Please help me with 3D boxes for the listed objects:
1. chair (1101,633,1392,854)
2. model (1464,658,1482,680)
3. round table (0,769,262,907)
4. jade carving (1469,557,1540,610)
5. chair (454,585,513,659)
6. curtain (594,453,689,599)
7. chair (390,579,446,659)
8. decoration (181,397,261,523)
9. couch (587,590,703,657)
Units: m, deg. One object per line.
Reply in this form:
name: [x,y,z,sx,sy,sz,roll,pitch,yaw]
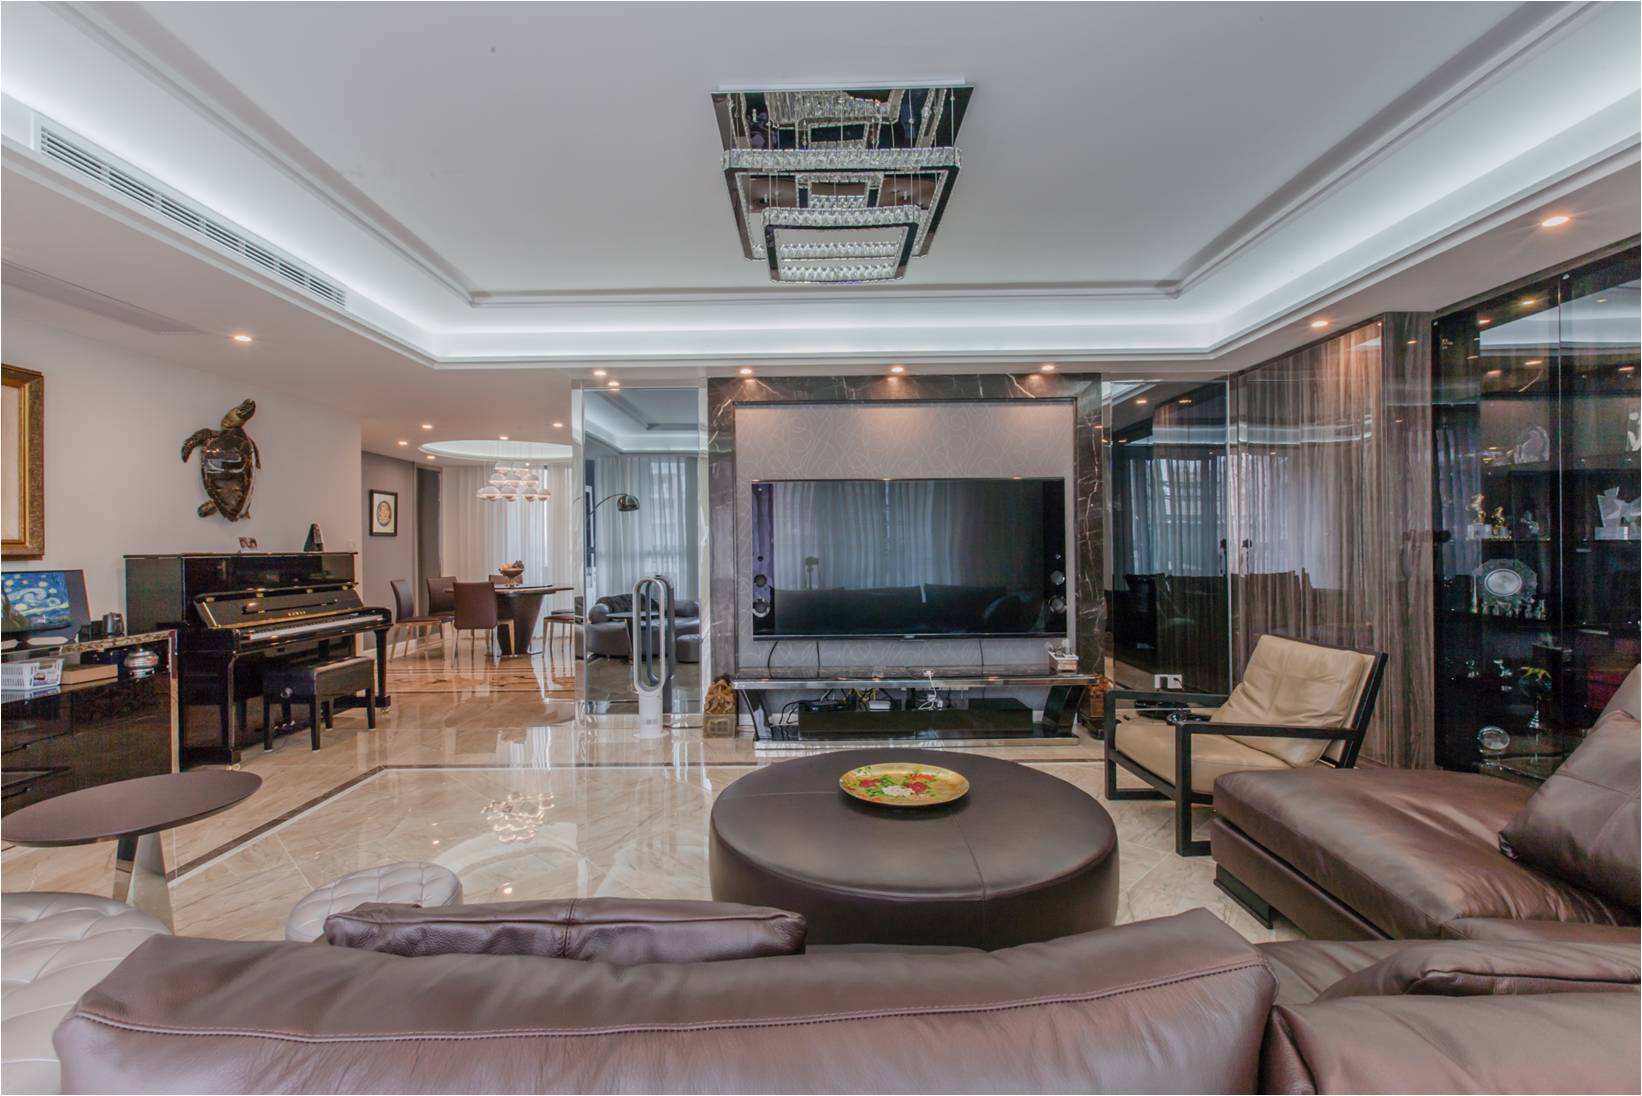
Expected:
chair: [2.159,0.982,5.344,1.135,0.944,0.990,-3,5,-12]
model: [3.697,0.683,5.822,0.094,0.167,0.100,2,-3,29]
round table: [-2.962,1.110,4.327,0.764,0.498,0.765,7,9,-1]
jade carving: [3.785,0.187,5.659,0.073,0.289,0.314,1,2,-40]
chair: [-3.188,0.677,9.691,0.370,0.641,0.828,-3,1,-3]
curtain: [-1.242,-0.092,7.102,0.683,0.994,0.070,-1,-2,-34]
chair: [-3.778,0.637,9.635,0.542,0.641,0.533,2,2,5]
decoration: [-3.805,-0.573,6.598,0.192,0.819,0.555,-3,1,13]
couch: [-1.238,0.553,7.131,0.766,0.412,0.234,-3,1,-1]
